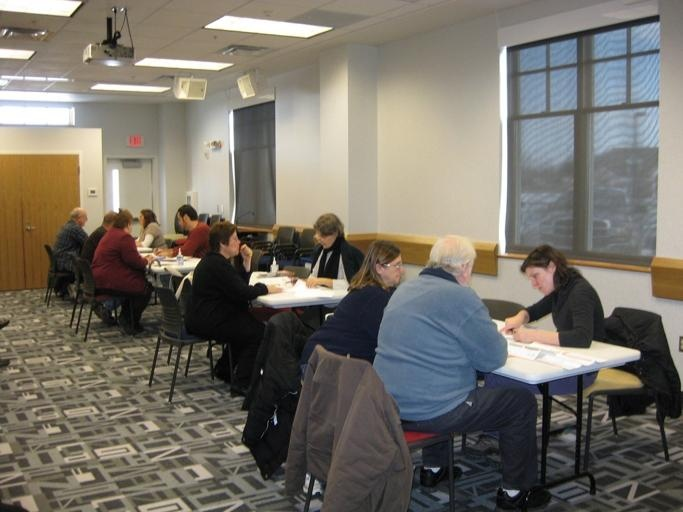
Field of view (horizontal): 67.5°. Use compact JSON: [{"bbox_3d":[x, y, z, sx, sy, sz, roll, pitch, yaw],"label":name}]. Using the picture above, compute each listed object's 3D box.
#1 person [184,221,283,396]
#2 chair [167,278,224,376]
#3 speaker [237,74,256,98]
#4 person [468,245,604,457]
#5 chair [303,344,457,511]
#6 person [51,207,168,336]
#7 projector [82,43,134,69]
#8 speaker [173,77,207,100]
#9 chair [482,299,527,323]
[{"bbox_3d":[-1.044,0.477,4.827,0.828,1.642,0.656,-2,8,-9],"label":"person"},{"bbox_3d":[-1.531,0.776,4.978,0.611,0.936,0.649,-1,9,-26],"label":"chair"},{"bbox_3d":[-1.736,-3.149,9.317,0.200,0.383,0.396,-5,9,-32],"label":"speaker"},{"bbox_3d":[1.714,0.563,4.165,1.010,1.862,1.029,8,-3,1],"label":"person"},{"bbox_3d":[0.228,1.158,3.383,0.719,1.278,0.669,-1,1,-24],"label":"chair"},{"bbox_3d":[-3.391,0.269,7.382,1.105,2.461,1.297,15,22,26],"label":"person"},{"bbox_3d":[-2.885,-2.518,6.319,0.543,0.214,0.374,-4,9,-25],"label":"projector"},{"bbox_3d":[-2.605,-3.025,9.204,0.547,0.359,0.553,12,17,38],"label":"speaker"},{"bbox_3d":[1.298,0.420,4.112,0.217,0.314,0.210,3,-14,-10],"label":"chair"}]
